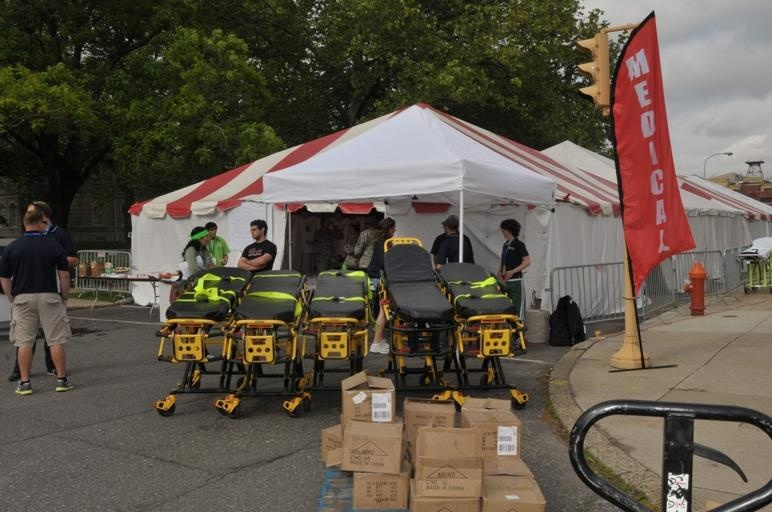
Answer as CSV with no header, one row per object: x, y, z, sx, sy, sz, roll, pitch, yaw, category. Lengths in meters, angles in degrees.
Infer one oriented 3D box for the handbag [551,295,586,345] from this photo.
3.630,1.324,15.689,0.689,0.979,0.379,-2,-2,11,handbag

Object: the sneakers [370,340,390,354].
-0.048,1.719,14.670,0.443,0.205,0.191,-1,10,-18,sneakers

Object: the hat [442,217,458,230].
1.275,-0.634,15.252,0.214,0.201,0.310,-2,16,-12,hat

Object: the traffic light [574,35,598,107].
3.524,-3.207,13.599,0.356,1.236,0.424,-2,-2,4,traffic light
